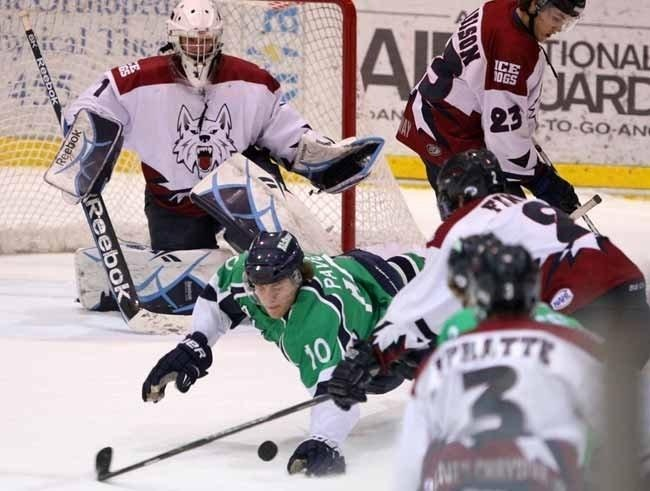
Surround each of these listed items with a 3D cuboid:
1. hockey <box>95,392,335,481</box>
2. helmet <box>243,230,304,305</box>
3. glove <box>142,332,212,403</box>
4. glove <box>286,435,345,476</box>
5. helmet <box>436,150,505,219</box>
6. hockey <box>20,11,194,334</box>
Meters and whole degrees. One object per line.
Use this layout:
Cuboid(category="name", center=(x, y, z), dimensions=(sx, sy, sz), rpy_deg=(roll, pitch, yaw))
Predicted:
Cuboid(category="hockey", center=(-0.366, 0.636, 3.197), dimensions=(0.843, 0.296, 0.032), rpy_deg=(-21, 41, 14))
Cuboid(category="helmet", center=(-0.190, 0.081, 3.421), dimensions=(0.213, 0.225, 0.245), rpy_deg=(0, 33, 15))
Cuboid(category="glove", center=(-0.527, 0.434, 3.448), dimensions=(0.115, 0.205, 0.272), rpy_deg=(-29, 23, 51))
Cuboid(category="glove", center=(-0.043, 0.685, 3.196), dimensions=(0.071, 0.192, 0.183), rpy_deg=(9, 8, 43))
Cuboid(category="helmet", center=(0.486, -0.218, 3.270), dimensions=(0.234, 0.210, 0.181), rpy_deg=(-14, 12, 1))
Cuboid(category="hockey", center=(-1.156, -0.341, 5.033), dimensions=(0.318, 2.006, 0.229), rpy_deg=(-18, -1, -14))
